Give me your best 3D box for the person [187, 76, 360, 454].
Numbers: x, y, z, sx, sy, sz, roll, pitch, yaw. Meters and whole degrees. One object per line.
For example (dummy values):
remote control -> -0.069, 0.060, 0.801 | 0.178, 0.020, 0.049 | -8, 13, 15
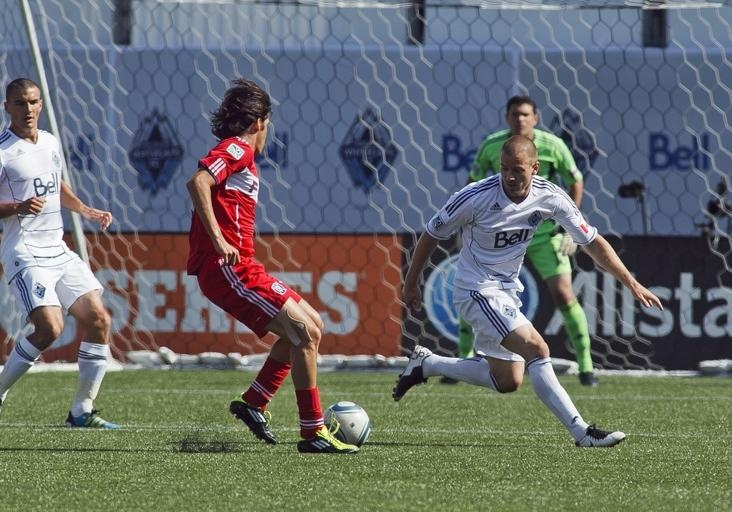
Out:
person -> -0.730, 0.055, 8.273 | 0.947, 2.490, 0.619 | 0, 6, -9

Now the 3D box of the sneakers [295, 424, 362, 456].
sneakers -> -0.269, 1.261, 8.269 | 0.480, 0.210, 0.160 | 1, -1, 2

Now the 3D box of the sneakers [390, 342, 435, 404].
sneakers -> 0.350, 0.885, 9.069 | 0.226, 0.509, 0.184 | 28, 0, 16

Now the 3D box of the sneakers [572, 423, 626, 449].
sneakers -> 1.563, 1.232, 8.287 | 0.363, 0.172, 0.131 | -6, -1, 9

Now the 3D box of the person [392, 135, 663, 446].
person -> 1.018, 0.225, 8.446 | 1.523, 2.078, 0.479 | 2, 6, 11

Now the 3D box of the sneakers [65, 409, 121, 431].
sneakers -> -1.915, 1.179, 8.750 | 0.419, 0.154, 0.144 | 2, -4, 1
